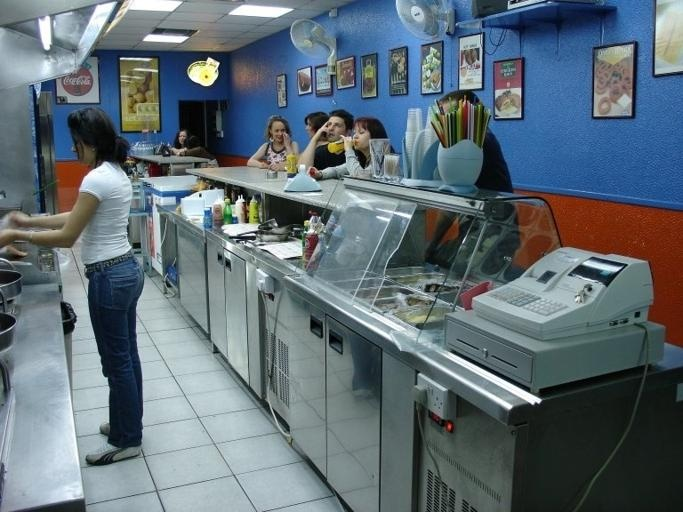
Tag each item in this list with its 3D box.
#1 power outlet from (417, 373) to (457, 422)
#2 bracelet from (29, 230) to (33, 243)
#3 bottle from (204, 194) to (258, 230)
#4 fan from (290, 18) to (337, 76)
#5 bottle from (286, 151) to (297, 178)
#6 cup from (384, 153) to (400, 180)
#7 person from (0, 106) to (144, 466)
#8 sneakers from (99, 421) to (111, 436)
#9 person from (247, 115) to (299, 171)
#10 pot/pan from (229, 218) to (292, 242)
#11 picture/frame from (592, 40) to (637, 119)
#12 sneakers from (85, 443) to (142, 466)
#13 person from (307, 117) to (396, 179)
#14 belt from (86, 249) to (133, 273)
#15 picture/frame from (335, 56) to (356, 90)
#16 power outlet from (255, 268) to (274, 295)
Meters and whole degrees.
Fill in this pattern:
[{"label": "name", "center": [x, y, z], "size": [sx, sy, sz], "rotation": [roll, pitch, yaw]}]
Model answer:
[{"label": "power outlet", "center": [0.333, 0.481, 1.657], "size": [0.099, 0.150, 0.198], "rotation": [-3, 8, -17]}, {"label": "bracelet", "center": [-1.559, -0.092, 2.398], "size": [0.010, 0.043, 0.041], "rotation": [3, 16, -14]}, {"label": "bottle", "center": [-1.000, -0.434, 4.345], "size": [0.336, 0.219, 0.339], "rotation": [0, 9, 0]}, {"label": "fan", "center": [-0.374, -3.087, 7.120], "size": [0.335, 0.709, 0.833], "rotation": [8, 15, 31]}, {"label": "bottle", "center": [-0.447, -0.801, 4.297], "size": [0.079, 0.186, 0.312], "rotation": [-1, 14, -9]}, {"label": "cup", "center": [0.244, -0.435, 2.345], "size": [0.081, 0.121, 0.084], "rotation": [1, 13, 0]}, {"label": "person", "center": [-1.431, 0.209, 2.713], "size": [0.570, 2.015, 0.464], "rotation": [-2, 13, -11]}, {"label": "sneakers", "center": [-1.534, 1.117, 3.096], "size": [0.071, 0.061, 0.140], "rotation": [1, 16, -28]}, {"label": "person", "center": [-0.950, -1.556, 6.570], "size": [0.690, 0.703, 1.743], "rotation": [-2, 14, -11]}, {"label": "pot/pan", "center": [-0.611, -0.179, 3.635], "size": [0.315, 0.058, 0.269], "rotation": [1, 19, -3]}, {"label": "picture/frame", "center": [2.141, -1.366, 3.762], "size": [0.060, 0.548, 0.380], "rotation": [-5, 14, -24]}, {"label": "sneakers", "center": [-1.353, 1.174, 2.830], "size": [0.305, 0.135, 0.110], "rotation": [2, 1, -27]}, {"label": "person", "center": [0.136, -0.887, 4.064], "size": [0.723, 0.560, 0.567], "rotation": [2, 3, -17]}, {"label": "belt", "center": [-1.271, 0.035, 2.629], "size": [0.245, 0.106, 0.113], "rotation": [-7, 15, -30]}, {"label": "picture/frame", "center": [0.064, -2.730, 7.120], "size": [0.058, 0.558, 0.564], "rotation": [-1, 5, -27]}, {"label": "power outlet", "center": [-0.504, 0.111, 3.078], "size": [0.123, 0.204, 0.230], "rotation": [-2, 10, -16]}]
